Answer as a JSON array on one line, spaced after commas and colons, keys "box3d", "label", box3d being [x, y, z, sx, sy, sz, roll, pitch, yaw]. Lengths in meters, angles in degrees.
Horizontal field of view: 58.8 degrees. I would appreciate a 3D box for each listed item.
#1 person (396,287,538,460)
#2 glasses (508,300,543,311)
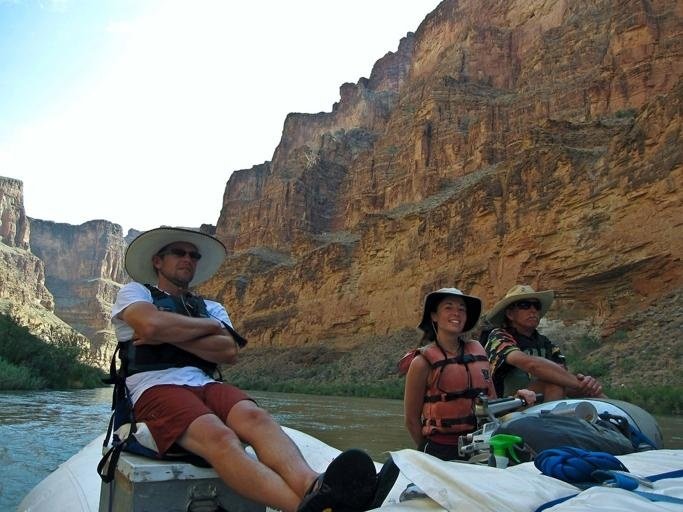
[{"box3d": [0.719, 0.821, 4.302, 0.671, 1.202, 0.543, -8, -13, 9], "label": "person"}, {"box3d": [1.549, 0.397, 5.121, 0.155, 0.050, 0.150, 2, -27, -2], "label": "glasses"}]
